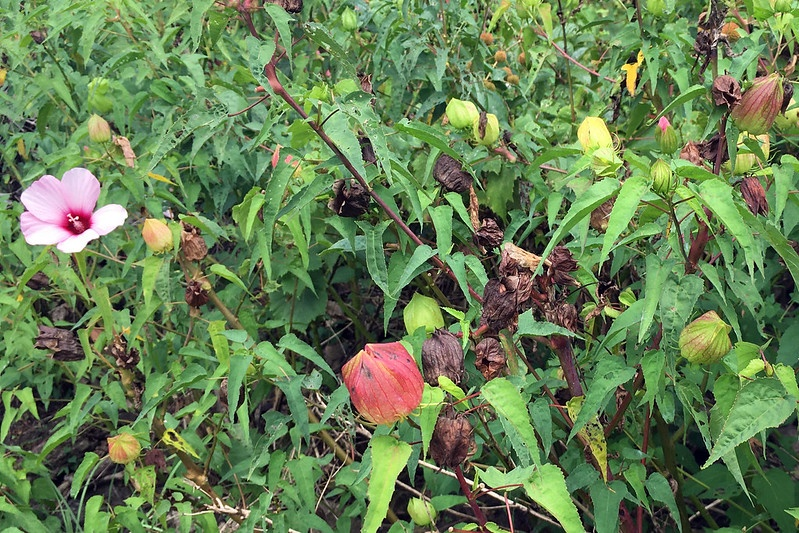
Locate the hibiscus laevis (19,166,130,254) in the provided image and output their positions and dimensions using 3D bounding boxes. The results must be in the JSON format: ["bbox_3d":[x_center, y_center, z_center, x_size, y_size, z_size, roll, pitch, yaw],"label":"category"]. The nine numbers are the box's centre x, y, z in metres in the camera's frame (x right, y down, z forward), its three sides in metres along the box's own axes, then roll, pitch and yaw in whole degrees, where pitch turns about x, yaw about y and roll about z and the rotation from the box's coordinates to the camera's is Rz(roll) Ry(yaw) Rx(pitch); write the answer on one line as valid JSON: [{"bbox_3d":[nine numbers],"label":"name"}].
[{"bbox_3d":[-1.174,-0.185,2.525,0.319,0.160,0.366,-30,-5,13],"label":"hibiscus laevis"}]
